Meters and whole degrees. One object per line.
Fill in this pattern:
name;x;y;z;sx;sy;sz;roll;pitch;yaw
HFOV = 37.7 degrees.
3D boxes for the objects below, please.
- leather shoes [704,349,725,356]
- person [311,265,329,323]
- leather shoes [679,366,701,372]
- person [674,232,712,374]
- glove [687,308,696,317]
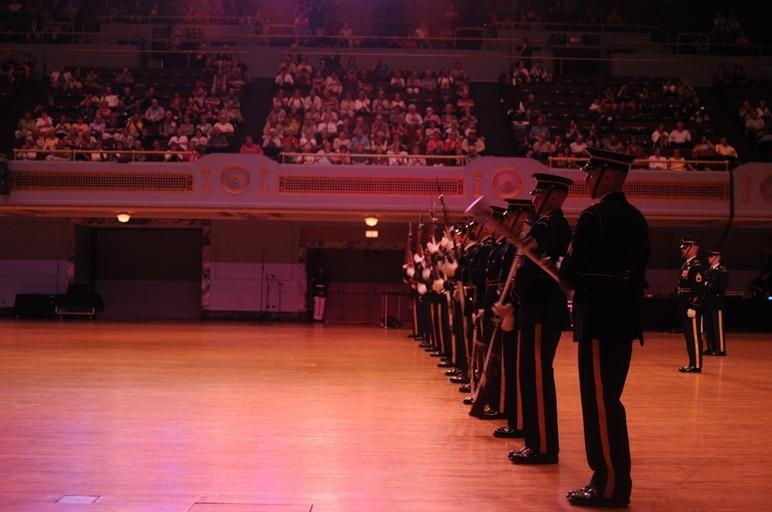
leather shoes;7.790;2.312;26.792;0.431;0.179;0.157;-4;-10;18
person;-1.896;1.117;32.604;0.410;1.614;0.377;0;5;3
leather shoes;6.687;2.526;24.831;0.366;0.141;0.173;3;-8;10
person;6.763;1.106;25.047;0.583;2.863;1.067;1;5;16
glove;6.730;1.274;24.902;0.156;0.171;0.190;16;18;-39
